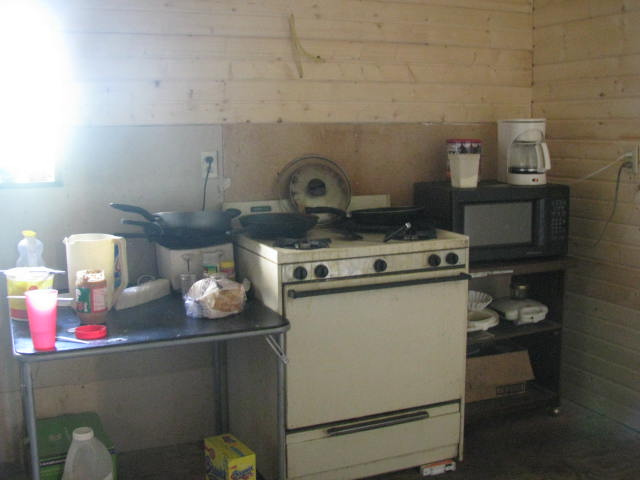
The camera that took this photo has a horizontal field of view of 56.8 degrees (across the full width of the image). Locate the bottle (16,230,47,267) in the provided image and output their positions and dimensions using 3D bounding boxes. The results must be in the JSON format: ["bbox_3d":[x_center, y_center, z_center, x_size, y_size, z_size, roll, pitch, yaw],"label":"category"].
[{"bbox_3d":[-1.375,0.063,2.811,0.139,0.208,0.139,4,13,-1],"label":"bottle"}]

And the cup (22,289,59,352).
[{"bbox_3d":[-1.045,0.303,2.238,0.109,0.223,0.099,-3,11,5],"label":"cup"}]

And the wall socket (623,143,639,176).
[{"bbox_3d":[1.687,-0.438,3.213,0.029,0.175,0.101,-7,12,-17],"label":"wall socket"}]

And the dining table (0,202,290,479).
[{"bbox_3d":[-0.782,0.229,3.008,1.247,1.422,1.620,-4,15,-15],"label":"dining table"}]

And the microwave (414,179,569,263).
[{"bbox_3d":[0.965,-0.054,3.442,0.800,0.414,0.540,-2,-6,-24],"label":"microwave"}]

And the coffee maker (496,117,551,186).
[{"bbox_3d":[1.149,-0.502,3.365,0.304,0.482,0.397,-5,8,-23],"label":"coffee maker"}]
